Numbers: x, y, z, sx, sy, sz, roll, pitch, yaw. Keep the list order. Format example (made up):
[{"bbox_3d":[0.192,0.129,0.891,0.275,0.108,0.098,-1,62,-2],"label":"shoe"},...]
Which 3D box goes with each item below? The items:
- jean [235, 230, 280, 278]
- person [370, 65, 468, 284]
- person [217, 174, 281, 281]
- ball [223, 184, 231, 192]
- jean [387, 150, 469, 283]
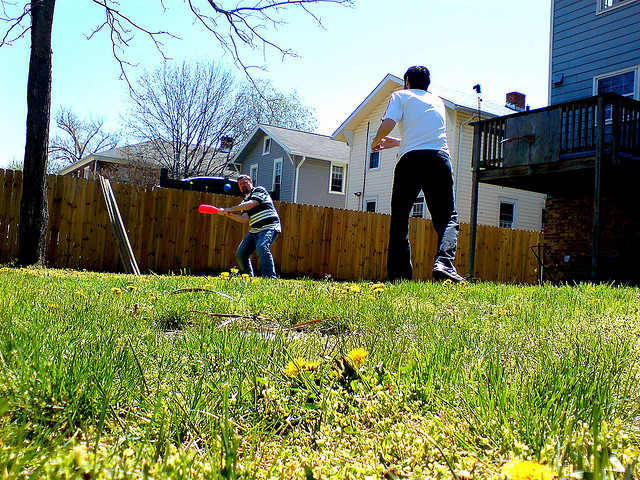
[{"bbox_3d":[-0.829,0.163,6.940,0.477,0.620,0.966,3,0,-16],"label":"jean"},{"bbox_3d":[1.072,-0.753,5.469,1.006,2.350,0.699,3,0,35],"label":"person"},{"bbox_3d":[-0.920,-0.158,7.002,0.580,1.519,0.778,-17,-15,42],"label":"person"},{"bbox_3d":[-2.701,-1.525,15.079,0.197,0.122,0.207,-3,-8,0],"label":"ball"},{"bbox_3d":[1.135,-0.219,5.500,0.741,1.655,0.570,-2,-33,15],"label":"jean"}]
